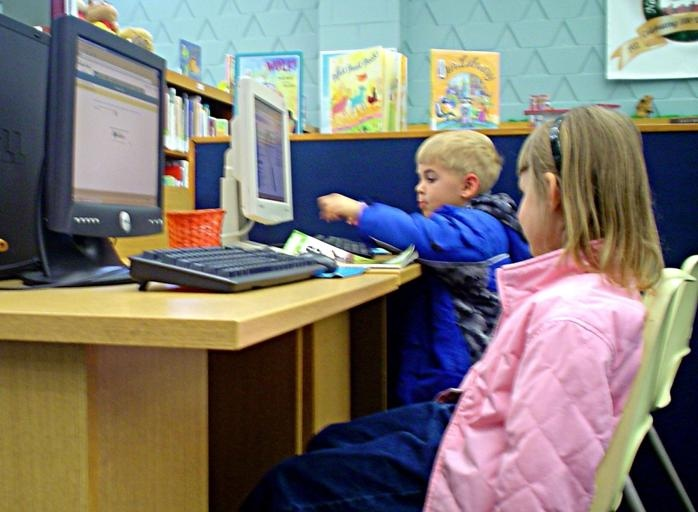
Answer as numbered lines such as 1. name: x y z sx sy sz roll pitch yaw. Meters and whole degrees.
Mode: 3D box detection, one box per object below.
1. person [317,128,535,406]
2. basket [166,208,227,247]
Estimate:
1. person: 0.352 -0.034 2.305 0.764 1.372 0.635 4 3 18
2. basket: -0.364 -0.065 1.505 0.109 0.079 0.108 -2 3 7
